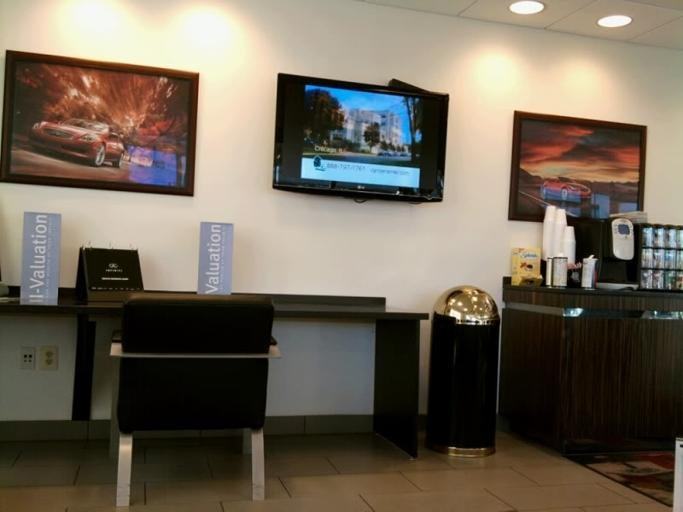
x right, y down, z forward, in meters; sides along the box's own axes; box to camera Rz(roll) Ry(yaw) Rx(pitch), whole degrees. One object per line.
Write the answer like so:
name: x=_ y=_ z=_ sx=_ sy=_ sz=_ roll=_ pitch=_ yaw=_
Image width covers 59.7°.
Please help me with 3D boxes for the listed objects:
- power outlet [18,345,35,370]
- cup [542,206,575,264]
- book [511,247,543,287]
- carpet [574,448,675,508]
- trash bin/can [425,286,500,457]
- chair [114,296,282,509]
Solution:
power outlet: x=-2.144 y=0.682 z=4.038 sx=0.101 sy=0.158 sz=0.016 roll=1 pitch=4 yaw=-14
cup: x=1.694 y=-0.167 z=4.606 sx=0.233 sy=0.449 sz=0.289 roll=3 pitch=5 yaw=13
book: x=1.460 y=0.085 z=4.661 sx=0.274 sy=0.432 sz=0.140 roll=1 pitch=-5 yaw=-10
carpet: x=1.969 y=1.400 z=4.011 sx=0.651 sy=0.031 sz=0.932 roll=7 pitch=6 yaw=40
trash bin/can: x=0.850 y=0.781 z=4.151 sx=0.470 sy=1.131 sz=0.280 roll=3 pitch=4 yaw=9
chair: x=-0.668 y=0.774 z=3.604 sx=0.936 sy=1.277 sz=1.060 roll=2 pitch=-3 yaw=-11
